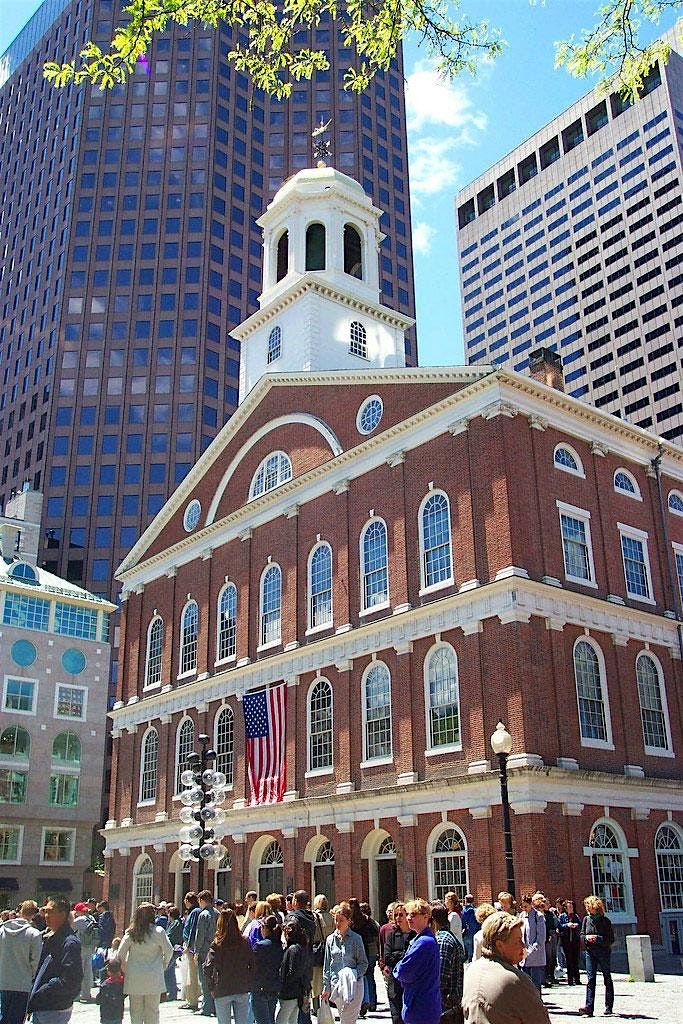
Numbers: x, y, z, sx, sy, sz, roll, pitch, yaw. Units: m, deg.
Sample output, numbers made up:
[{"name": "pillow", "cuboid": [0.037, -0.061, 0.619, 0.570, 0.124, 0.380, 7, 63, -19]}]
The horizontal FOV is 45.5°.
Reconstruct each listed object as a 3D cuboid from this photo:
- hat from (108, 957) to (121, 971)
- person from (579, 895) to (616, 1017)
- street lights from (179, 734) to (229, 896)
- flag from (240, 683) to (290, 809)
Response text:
[{"name": "hat", "cuboid": [-2.207, 4.439, 7.961, 0.054, 0.122, 0.206, -8, -25, 17]}, {"name": "person", "cuboid": [3.948, 6.924, 12.712, 0.607, 1.654, 1.580, -6, -25, 14]}, {"name": "street lights", "cuboid": [-3.122, 6.718, 18.889, 0.860, 3.056, 0.719, -1, 19, -15]}, {"name": "flag", "cuboid": [-2.679, 8.121, 28.385, 1.335, 3.908, 1.964, 16, -28, -33]}]
